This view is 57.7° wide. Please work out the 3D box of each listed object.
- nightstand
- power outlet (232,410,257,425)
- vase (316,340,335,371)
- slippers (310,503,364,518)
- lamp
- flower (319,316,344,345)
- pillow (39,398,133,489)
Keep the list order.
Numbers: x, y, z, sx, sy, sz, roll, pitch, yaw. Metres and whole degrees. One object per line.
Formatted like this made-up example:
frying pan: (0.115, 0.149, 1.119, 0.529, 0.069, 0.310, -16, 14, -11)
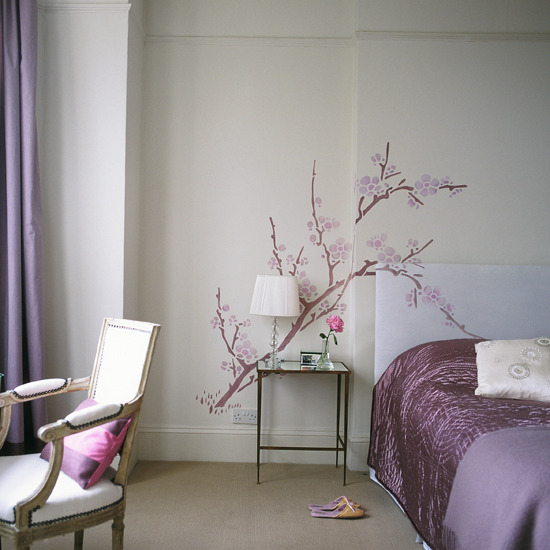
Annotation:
nightstand: (0.189, 0.949, 3.151, 0.565, 0.866, 0.404, 0, -4, 4)
power outlet: (-0.201, 0.927, 3.250, 0.154, 0.102, 0.031, 1, 6, -4)
vase: (0.321, 0.476, 3.084, 0.120, 0.264, 0.182, 1, -3, 16)
slippers: (0.324, 1.241, 2.592, 0.225, 0.074, 0.104, -4, 2, 5)
lamp: (0.000, 0.279, 3.104, 0.288, 0.564, 0.340, 1, 6, 1)
flower: (0.360, 0.359, 3.142, 0.142, 0.227, 0.261, 1, 6, 6)
pillow: (-0.744, 0.707, 2.000, 0.280, 0.221, 0.195, 1, 6, 4)
